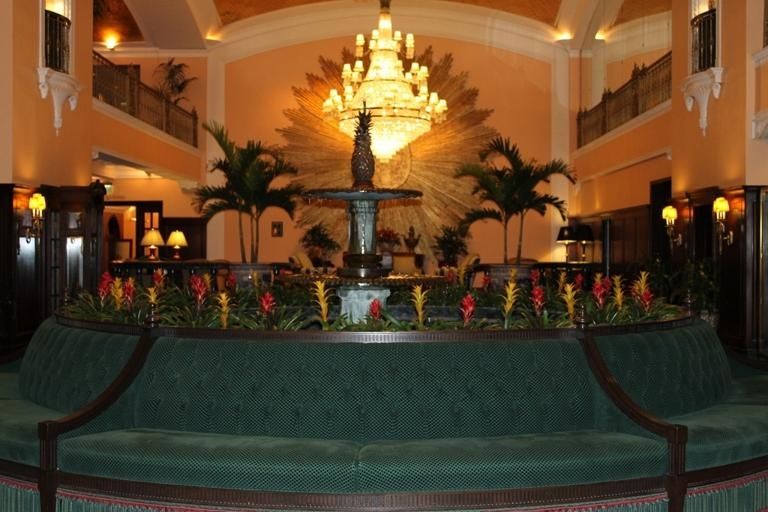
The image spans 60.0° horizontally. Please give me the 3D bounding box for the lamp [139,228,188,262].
[{"bbox_3d":[-4.361,-0.231,13.371,0.630,0.409,0.283,1,8,0],"label":"lamp"}]

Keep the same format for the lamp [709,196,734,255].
[{"bbox_3d":[4.641,-0.417,9.192,0.267,0.784,0.251,-4,15,-24],"label":"lamp"}]

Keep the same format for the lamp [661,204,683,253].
[{"bbox_3d":[4.370,-0.275,10.233,0.275,0.991,0.265,0,-8,-1],"label":"lamp"}]

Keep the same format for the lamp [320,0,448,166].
[{"bbox_3d":[0.012,-2.830,11.137,1.885,2.752,4.739,3,15,6],"label":"lamp"}]

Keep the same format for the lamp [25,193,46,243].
[{"bbox_3d":[-4.780,-0.494,9.225,0.304,0.720,0.272,-4,3,-19],"label":"lamp"}]
